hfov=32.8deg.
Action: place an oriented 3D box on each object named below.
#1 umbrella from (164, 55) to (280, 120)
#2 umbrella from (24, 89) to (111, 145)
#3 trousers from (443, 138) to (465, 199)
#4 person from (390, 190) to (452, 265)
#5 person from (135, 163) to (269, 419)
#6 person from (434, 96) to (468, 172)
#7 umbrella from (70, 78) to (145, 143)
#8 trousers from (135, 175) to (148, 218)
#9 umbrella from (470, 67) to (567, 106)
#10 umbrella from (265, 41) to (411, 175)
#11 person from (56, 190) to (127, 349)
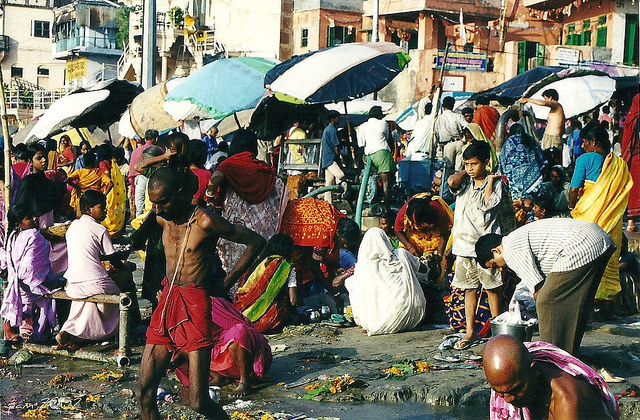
[{"bbox_3d":[-1.642,-2.196,19.297,1.385,0.508,1.384,-14,14,17],"label":"umbrella"},{"bbox_3d":[-4.976,-1.881,21.444,1.474,1.029,0.871,3,3,20],"label":"umbrella"},{"bbox_3d":[2.539,-0.736,20.236,0.673,1.148,0.298,7,-30,-6],"label":"trousers"},{"bbox_3d":[1.636,0.245,16.879,0.820,1.111,1.292,-2,-15,20],"label":"person"},{"bbox_3d":[-1.607,1.056,13.734,1.322,3.138,0.514,2,3,-4],"label":"person"},{"bbox_3d":[2.502,-1.215,20.655,0.659,1.862,0.562,1,17,10],"label":"person"},{"bbox_3d":[-4.166,-2.166,22.210,1.321,0.885,1.316,-16,5,-40],"label":"umbrella"},{"bbox_3d":[-3.301,-0.262,19.945,0.203,0.757,0.848,2,3,-10],"label":"trousers"},{"bbox_3d":[4.086,-2.585,22.758,1.627,0.429,1.189,-10,1,-41],"label":"umbrella"},{"bbox_3d":[0.271,-2.053,18.652,1.497,1.458,1.499,-27,5,-10],"label":"umbrella"},{"bbox_3d":[-3.307,0.878,15.657,0.908,2.202,0.631,2,3,-4],"label":"person"}]
